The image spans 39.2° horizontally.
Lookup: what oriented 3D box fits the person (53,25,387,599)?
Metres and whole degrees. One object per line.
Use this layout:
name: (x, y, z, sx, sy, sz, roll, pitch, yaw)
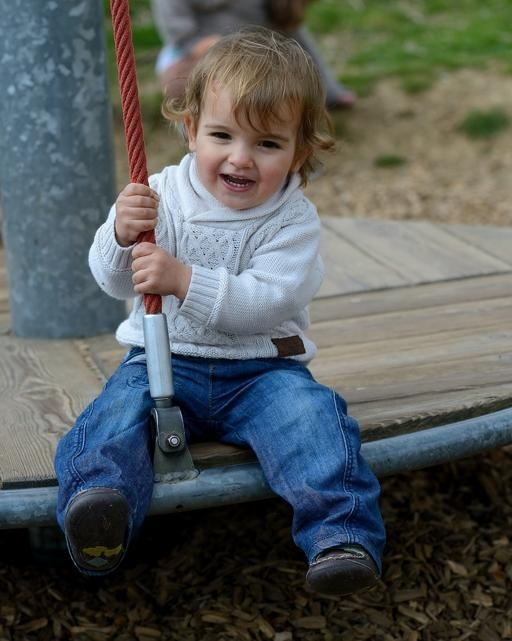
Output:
person: (-0.040, -0.055, 1.040, 0.444, 0.630, 0.696, 2, 30, -2)
